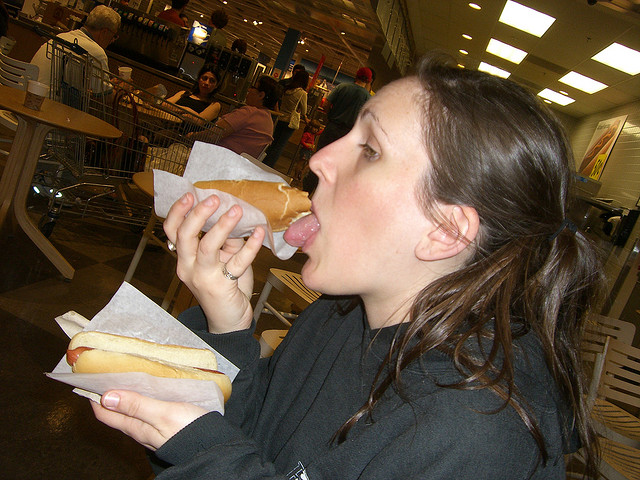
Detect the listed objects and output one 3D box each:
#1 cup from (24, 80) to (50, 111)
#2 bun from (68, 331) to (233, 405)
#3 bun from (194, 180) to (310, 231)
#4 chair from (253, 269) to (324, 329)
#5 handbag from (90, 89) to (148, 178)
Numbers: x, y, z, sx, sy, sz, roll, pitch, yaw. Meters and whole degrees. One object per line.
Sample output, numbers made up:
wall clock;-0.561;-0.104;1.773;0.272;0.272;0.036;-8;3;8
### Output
cup;-1.825;-0.929;2.685;0.099;0.162;0.145;10;22;-37
bun;-0.412;0.270;0.985;0.360;0.096;0.183;13;14;-2
bun;-0.189;-0.075;1.209;0.240;0.076;0.176;8;-11;3
chair;-0.221;0.396;2.563;0.347;0.270;0.274;30;-10;-7
handbag;-1.577;-0.880;3.409;0.397;0.705;0.690;14;20;-28
